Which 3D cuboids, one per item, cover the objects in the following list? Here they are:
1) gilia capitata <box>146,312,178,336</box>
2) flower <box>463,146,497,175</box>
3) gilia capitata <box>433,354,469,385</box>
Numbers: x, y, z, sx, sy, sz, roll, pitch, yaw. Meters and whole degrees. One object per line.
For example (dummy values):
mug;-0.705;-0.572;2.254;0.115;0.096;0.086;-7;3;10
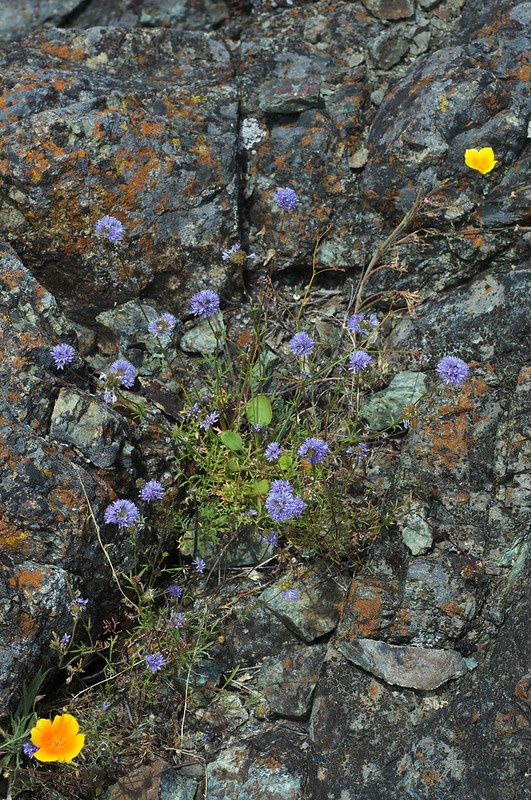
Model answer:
gilia capitata;-0.505;-0.356;3.953;0.143;0.068;0.132;-11;58;9
flower;1.039;-1.142;3.860;0.145;0.151;0.210;-2;27;16
gilia capitata;0.817;-0.115;3.471;0.114;0.123;0.068;-9;27;4
